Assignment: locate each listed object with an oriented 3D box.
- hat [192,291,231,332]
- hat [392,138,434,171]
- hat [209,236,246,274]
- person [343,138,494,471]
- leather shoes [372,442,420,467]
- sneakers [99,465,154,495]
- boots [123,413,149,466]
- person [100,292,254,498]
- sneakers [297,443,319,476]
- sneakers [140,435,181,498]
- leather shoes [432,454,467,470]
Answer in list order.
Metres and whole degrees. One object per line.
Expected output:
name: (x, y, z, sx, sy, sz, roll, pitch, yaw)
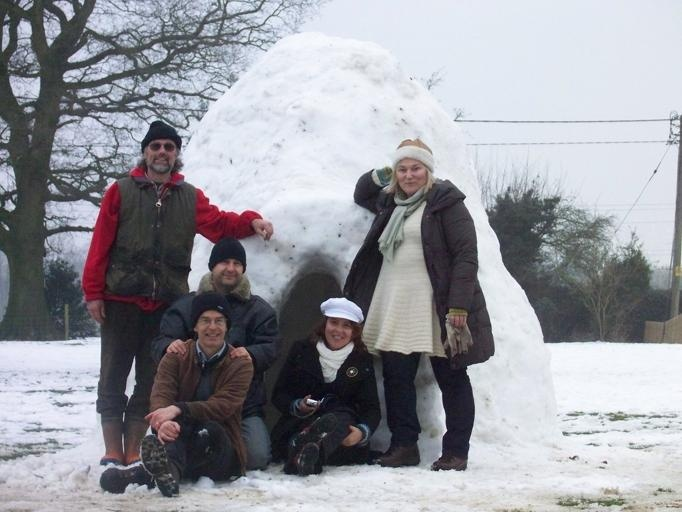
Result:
hat: (-1.176, 0.496, 8.782, 0.275, 0.274, 0.356, 1, -17, -7)
hat: (0.697, -0.977, 9.426, 0.362, 0.283, 0.351, 15, -21, -9)
hat: (-1.055, 0.007, 9.094, 0.311, 0.265, 0.304, 5, -13, -12)
person: (0.763, 0.441, 9.243, 1.380, 3.082, 0.454, 2, -3, 12)
leather shoes: (0.541, 1.865, 9.051, 0.466, 0.216, 0.170, 2, -6, -14)
sneakers: (-1.863, 1.924, 8.480, 0.483, 0.200, 0.209, 12, 20, -8)
boots: (-1.821, 1.702, 8.984, 0.186, 0.449, 0.443, 3, -12, -1)
person: (-1.249, 1.195, 8.564, 0.910, 1.751, 0.452, 3, -3, -5)
sneakers: (-0.307, 1.823, 8.828, 0.169, 0.308, 0.124, 8, 0, -15)
sneakers: (-1.534, 1.779, 8.398, 0.239, 0.615, 0.265, -24, -9, -13)
leather shoes: (1.012, 1.922, 9.028, 0.297, 0.117, 0.140, 8, -15, -20)
